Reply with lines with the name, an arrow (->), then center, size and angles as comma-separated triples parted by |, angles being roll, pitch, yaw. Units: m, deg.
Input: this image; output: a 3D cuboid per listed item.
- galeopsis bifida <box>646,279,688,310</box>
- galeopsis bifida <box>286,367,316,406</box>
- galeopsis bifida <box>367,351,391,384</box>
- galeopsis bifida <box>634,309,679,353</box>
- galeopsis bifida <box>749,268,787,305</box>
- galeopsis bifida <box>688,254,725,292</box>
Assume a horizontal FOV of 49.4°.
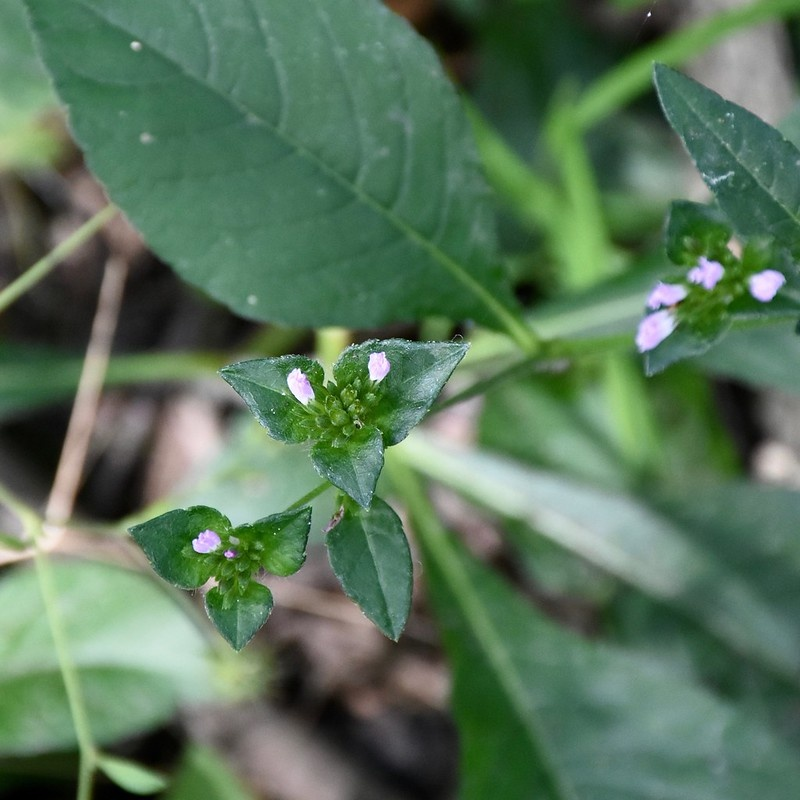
galeopsis bifida -> 0.326, -0.129, 1.047 | 0.052, 0.032, 0.027 | -19, 9, -3
galeopsis bifida -> -0.120, -0.018, 1.047 | 0.028, 0.043, 0.020 | -24, 21, 6
galeopsis bifida -> -0.024, -0.043, 1.054 | 0.021, 0.020, 0.030 | -40, -27, -23
galeopsis bifida -> 0.308, -0.087, 1.048 | 0.059, 0.042, 0.028 | -22, 10, -24
galeopsis bifida -> 0.452, -0.134, 1.040 | 0.044, 0.041, 0.009 | -1, -10, 3
galeopsis bifida -> 0.376, -0.156, 1.060 | 0.042, 0.043, 0.072 | -15, 9, 22
